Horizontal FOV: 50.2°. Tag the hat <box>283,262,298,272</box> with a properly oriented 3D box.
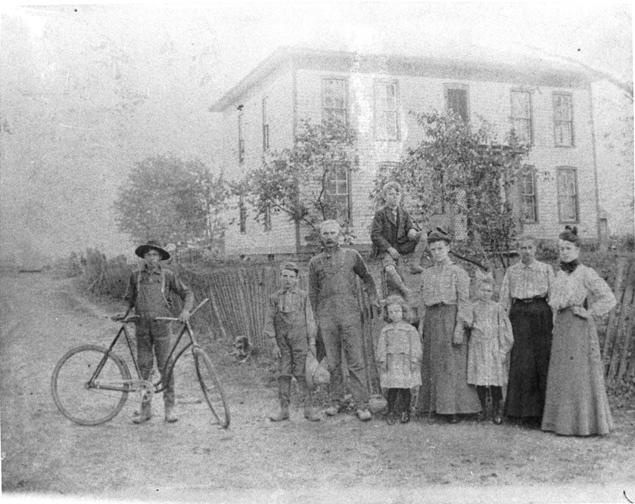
[{"bbox_3d":[-0.291,0.171,7.359,0.146,0.116,0.218,0,2,1],"label":"hat"}]

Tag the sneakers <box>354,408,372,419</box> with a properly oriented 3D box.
[{"bbox_3d":[0.509,1.747,7.348,0.108,0.064,0.126,6,20,-14],"label":"sneakers"}]

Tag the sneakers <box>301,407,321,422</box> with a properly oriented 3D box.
[{"bbox_3d":[-0.064,1.732,7.349,0.121,0.070,0.164,0,11,-28],"label":"sneakers"}]

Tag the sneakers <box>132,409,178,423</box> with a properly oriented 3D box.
[{"bbox_3d":[-1.711,1.735,7.173,0.486,0.130,0.068,0,2,-3],"label":"sneakers"}]

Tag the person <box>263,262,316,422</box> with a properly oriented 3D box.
[{"bbox_3d":[-0.274,0.963,7.371,0.567,1.681,0.283,0,2,-9],"label":"person"}]

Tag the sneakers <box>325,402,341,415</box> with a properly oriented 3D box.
[{"bbox_3d":[0.166,1.708,7.478,0.118,0.050,0.127,-1,9,-6],"label":"sneakers"}]

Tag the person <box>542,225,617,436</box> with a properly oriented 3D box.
[{"bbox_3d":[2.705,0.817,7.064,0.685,2.162,0.344,1,2,23],"label":"person"}]

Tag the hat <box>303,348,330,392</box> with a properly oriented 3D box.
[{"bbox_3d":[-0.007,1.334,7.615,0.367,0.403,0.141,3,-4,-37],"label":"hat"}]

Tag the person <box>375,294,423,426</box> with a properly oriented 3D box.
[{"bbox_3d":[0.885,1.156,7.338,0.474,1.339,0.253,1,2,10],"label":"person"}]

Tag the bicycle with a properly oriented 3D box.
[{"bbox_3d":[-1.822,1.275,7.672,2.022,1.482,1.022,0,-9,-4],"label":"bicycle"}]

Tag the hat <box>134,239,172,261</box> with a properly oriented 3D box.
[{"bbox_3d":[-1.785,0.006,7.295,0.228,0.075,0.245,16,-33,-20],"label":"hat"}]

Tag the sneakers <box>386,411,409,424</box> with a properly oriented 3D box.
[{"bbox_3d":[0.867,1.787,7.298,0.166,0.054,0.126,1,-2,-25],"label":"sneakers"}]
